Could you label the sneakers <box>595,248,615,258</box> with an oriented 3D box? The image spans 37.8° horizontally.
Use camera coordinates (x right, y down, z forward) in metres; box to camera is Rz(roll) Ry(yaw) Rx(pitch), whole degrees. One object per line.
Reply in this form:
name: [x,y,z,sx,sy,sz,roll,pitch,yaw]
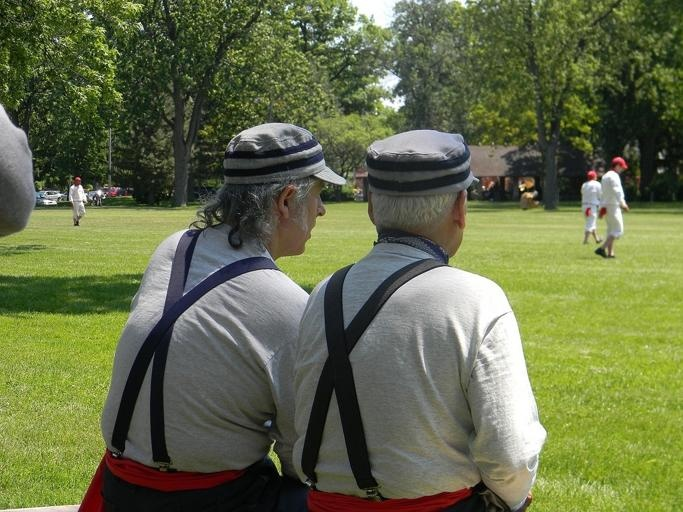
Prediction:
sneakers: [5.697,-0.087,21.538,0.325,0.140,0.112,17,15,-41]
